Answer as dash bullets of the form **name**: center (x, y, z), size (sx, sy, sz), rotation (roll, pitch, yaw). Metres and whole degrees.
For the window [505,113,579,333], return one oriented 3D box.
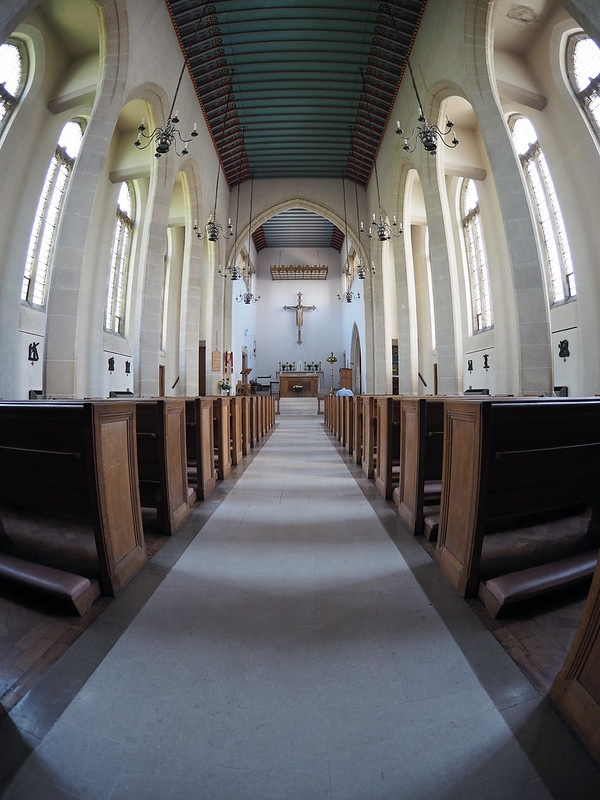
- **window**: center (4.659, -3.726, 8.496), size (0.250, 3.583, 0.728), rotation (-13, 8, 12)

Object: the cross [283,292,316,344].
- **cross**: center (-0.035, -4.677, 25.677), size (2.236, 4.873, 0.342), rotation (0, 5, 7)

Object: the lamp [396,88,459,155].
- **lamp**: center (1.745, -3.811, 5.987), size (0.631, 1.059, 0.687), rotation (5, -9, 7)
